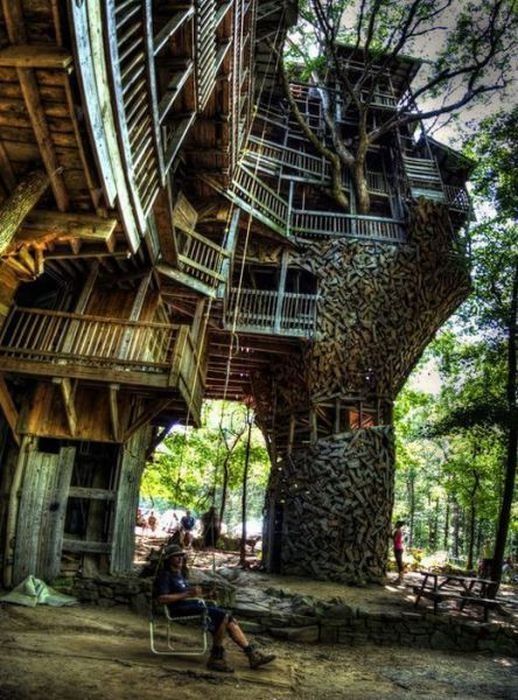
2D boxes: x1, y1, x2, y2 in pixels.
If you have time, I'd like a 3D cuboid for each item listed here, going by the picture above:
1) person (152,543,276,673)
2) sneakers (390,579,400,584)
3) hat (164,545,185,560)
[{"bbox_3d":[-0.544,2.888,5.588,1.247,1.249,0.951,5,-17,5],"label":"person"},{"bbox_3d":[3.641,6.154,13.250,0.097,0.188,0.295,-20,-43,33],"label":"sneakers"},{"bbox_3d":[-0.966,2.291,5.643,0.195,0.071,0.163,-5,-26,-1],"label":"hat"}]
